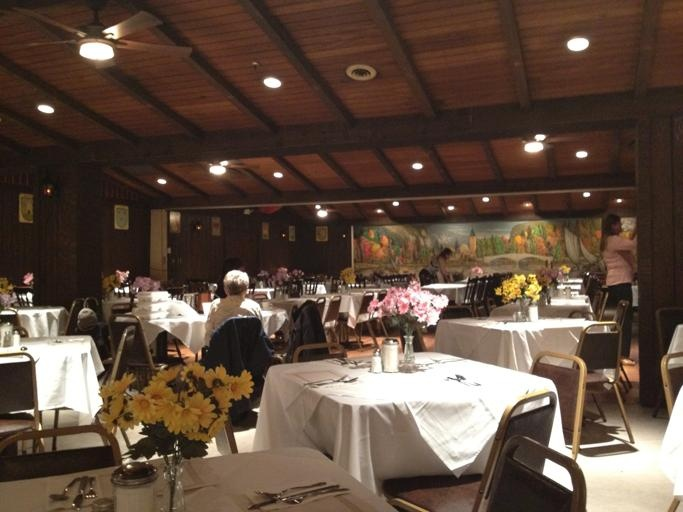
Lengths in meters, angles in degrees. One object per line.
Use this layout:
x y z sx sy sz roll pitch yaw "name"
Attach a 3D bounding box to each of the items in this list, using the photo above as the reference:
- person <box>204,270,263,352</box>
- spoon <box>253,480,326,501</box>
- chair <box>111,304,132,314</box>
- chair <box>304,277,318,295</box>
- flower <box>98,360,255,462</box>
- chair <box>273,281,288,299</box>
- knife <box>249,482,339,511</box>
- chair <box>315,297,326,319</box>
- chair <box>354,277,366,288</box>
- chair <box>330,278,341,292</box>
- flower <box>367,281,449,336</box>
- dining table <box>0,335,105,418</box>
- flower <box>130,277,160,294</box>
-1.063 0.553 5.206 0.664 1.052 0.539 0 10 -7 "person"
-0.172 0.808 1.847 0.267 0.039 0.079 2 1 -38 "spoon"
-2.702 0.655 6.486 0.218 0.163 0.221 -1 -8 0 "chair"
-0.591 0.596 10.346 0.298 0.360 0.263 1 -13 2 "chair"
-0.540 0.456 1.695 0.388 0.335 0.349 2 3 -45 "flower"
-1.013 0.607 8.973 0.196 0.269 0.797 9 7 -10 "chair"
-0.153 0.842 1.844 0.324 0.023 0.097 1 5 -32 "knife"
-0.277 0.750 7.566 0.127 0.272 0.439 10 7 -1 "chair"
0.447 0.615 11.731 0.204 0.197 0.206 1 18 8 "chair"
-0.128 0.631 11.161 0.225 0.351 0.228 4 -3 6 "chair"
0.474 0.307 3.354 0.350 0.235 0.343 2 13 39 "flower"
-2.147 0.906 4.218 0.914 0.674 0.895 6 -12 -32 "dining table"
-2.698 0.404 7.166 0.299 0.148 0.293 7 -3 -38 "flower"
